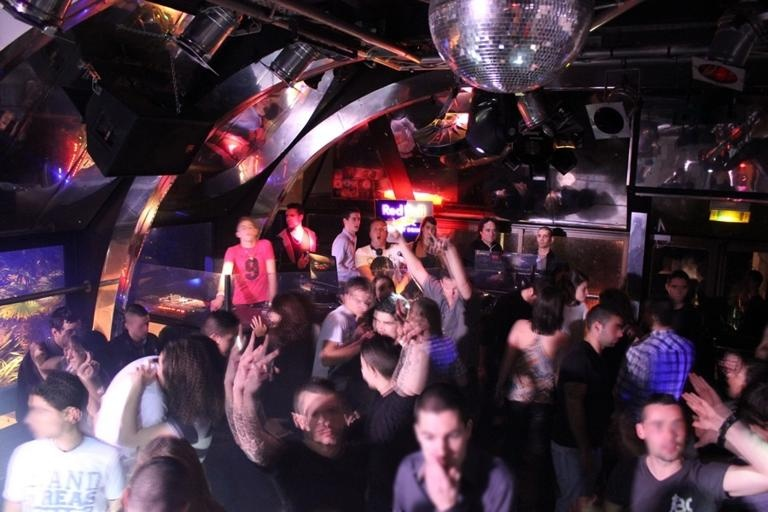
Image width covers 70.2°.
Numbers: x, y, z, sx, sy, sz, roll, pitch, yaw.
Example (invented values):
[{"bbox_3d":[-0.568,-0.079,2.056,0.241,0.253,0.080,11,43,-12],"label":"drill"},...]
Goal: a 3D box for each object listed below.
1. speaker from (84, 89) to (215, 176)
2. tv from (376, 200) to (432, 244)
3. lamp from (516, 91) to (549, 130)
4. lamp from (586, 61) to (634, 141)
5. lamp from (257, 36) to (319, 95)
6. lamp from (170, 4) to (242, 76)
[{"bbox_3d":[-1.559,-0.775,3.623,0.552,0.487,0.727,16,12,15],"label":"speaker"},{"bbox_3d":[0.262,-0.416,6.638,0.665,0.482,0.023,0,-2,1],"label":"tv"},{"bbox_3d":[1.063,-1.047,3.917,0.295,0.219,0.159,9,-5,-35],"label":"lamp"},{"bbox_3d":[1.968,-1.306,4.785,0.467,0.630,0.578,0,-12,18],"label":"lamp"},{"bbox_3d":[-0.600,-1.324,3.737,0.278,0.377,0.279,41,4,0],"label":"lamp"},{"bbox_3d":[-1.031,-1.287,3.202,0.357,0.267,0.175,4,-5,25],"label":"lamp"}]
